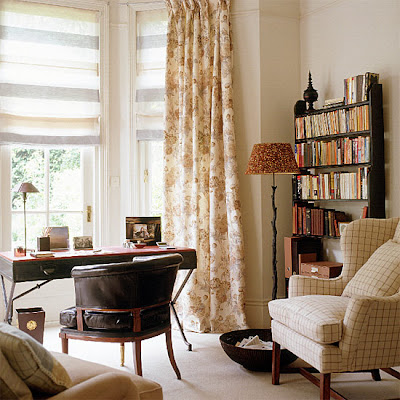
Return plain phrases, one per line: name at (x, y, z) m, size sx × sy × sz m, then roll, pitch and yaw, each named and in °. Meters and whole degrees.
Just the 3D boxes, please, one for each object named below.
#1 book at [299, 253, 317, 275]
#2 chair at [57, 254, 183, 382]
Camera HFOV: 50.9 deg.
book at (0.941, 0.553, 3.650) m, size 0.176 × 0.157 × 0.040 m, roll -3°, pitch 2°, yaw -36°
chair at (-0.449, 0.564, 2.627) m, size 0.706 × 0.817 × 0.773 m, roll -1°, pitch -4°, yaw 24°
